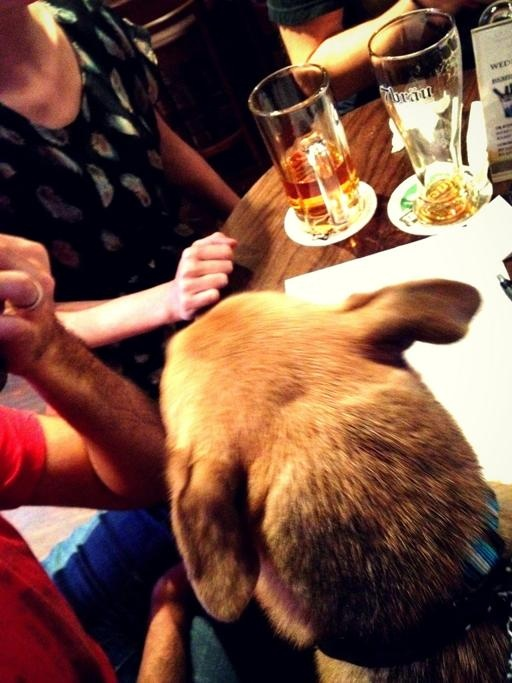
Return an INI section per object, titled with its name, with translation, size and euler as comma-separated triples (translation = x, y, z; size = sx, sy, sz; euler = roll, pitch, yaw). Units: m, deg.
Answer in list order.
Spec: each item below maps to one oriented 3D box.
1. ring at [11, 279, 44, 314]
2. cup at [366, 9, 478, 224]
[ring]
translation = -0.290, -0.057, 0.707
size = 0.035, 0.011, 0.035
euler = -13, 62, 25
[cup]
translation = 0.203, -0.260, 0.637
size = 0.094, 0.182, 0.184
euler = -15, 43, 24
